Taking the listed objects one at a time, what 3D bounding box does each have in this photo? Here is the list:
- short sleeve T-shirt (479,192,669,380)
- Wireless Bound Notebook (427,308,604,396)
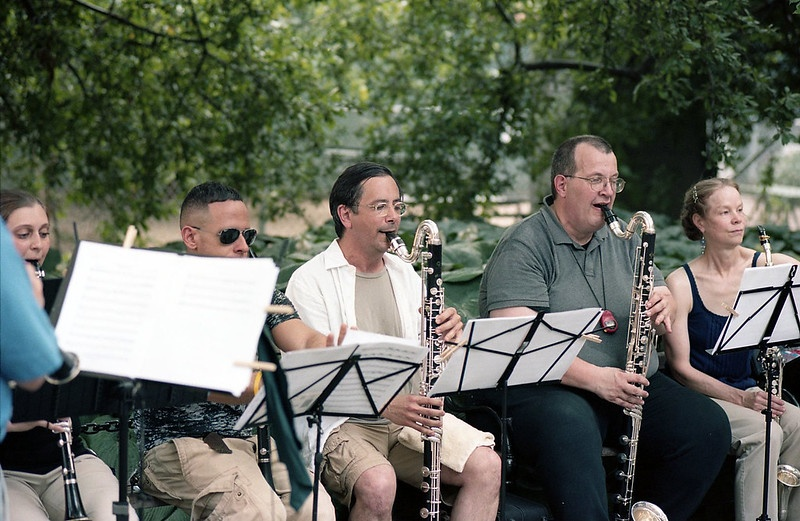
[{"bbox_3d":[1.267,0.201,8.801,1.572,1.195,0.792,0,5,-27],"label":"short sleeve T-shirt"},{"bbox_3d":[0.747,0.580,7.907,1.018,0.537,0.325,0,1,-12],"label":"Wireless Bound Notebook"}]
